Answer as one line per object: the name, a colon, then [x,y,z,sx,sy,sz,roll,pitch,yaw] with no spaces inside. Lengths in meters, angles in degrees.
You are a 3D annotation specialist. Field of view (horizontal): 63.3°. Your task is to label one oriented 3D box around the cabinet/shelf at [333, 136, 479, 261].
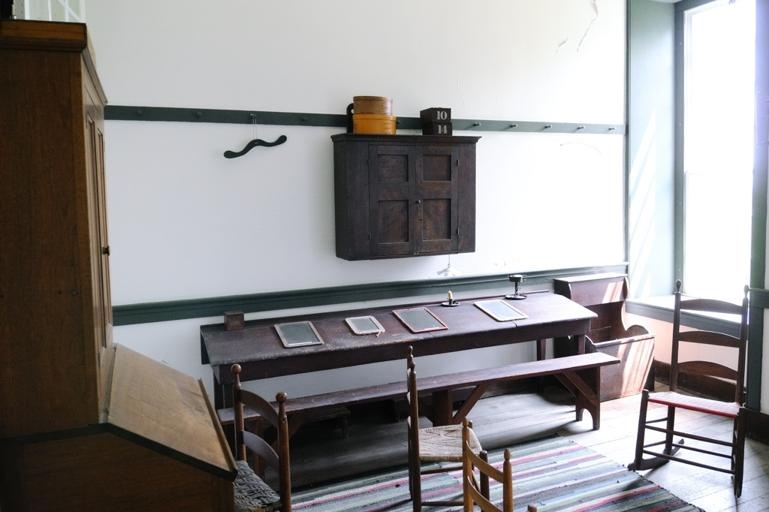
cabinet/shelf: [0.141,-0.560,5.734,1.180,0.956,0.348,-1,3,-20]
